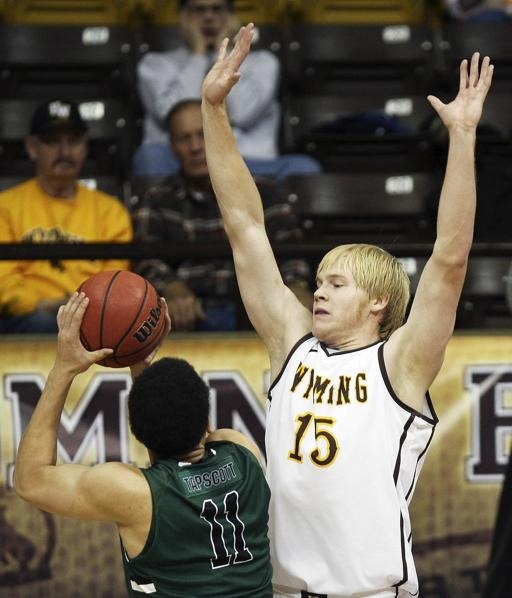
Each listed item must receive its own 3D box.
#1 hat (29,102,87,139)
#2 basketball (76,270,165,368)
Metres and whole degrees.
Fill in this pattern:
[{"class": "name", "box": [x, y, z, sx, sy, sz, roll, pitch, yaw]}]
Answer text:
[{"class": "hat", "box": [-0.888, -0.816, 5.525, 0.235, 0.158, 0.317, -17, 16, 3]}, {"class": "basketball", "box": [-0.494, 0.085, 4.708, 0.350, 0.338, 0.343, -3, -7, -6]}]
